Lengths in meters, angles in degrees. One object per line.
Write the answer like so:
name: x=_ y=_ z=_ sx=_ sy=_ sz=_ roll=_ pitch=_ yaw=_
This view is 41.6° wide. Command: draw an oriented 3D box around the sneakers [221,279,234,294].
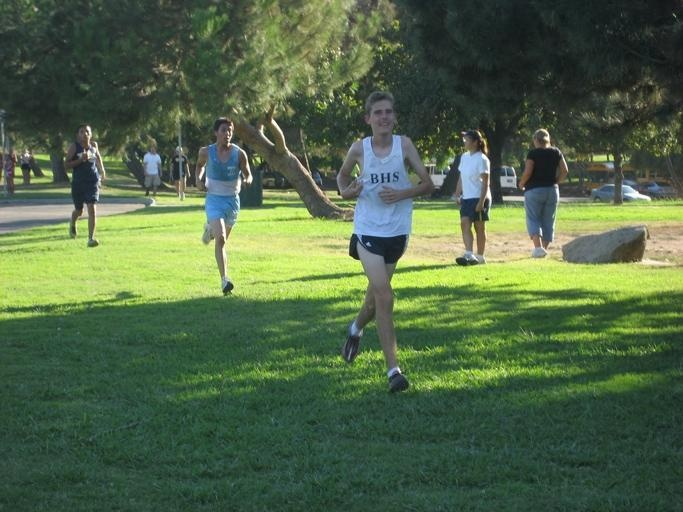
sneakers: x=-1.585 y=0.398 z=12.409 sx=0.160 sy=0.224 sz=0.261 roll=-2 pitch=12 yaw=-8

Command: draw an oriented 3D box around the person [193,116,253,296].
person: x=-1.682 y=-0.734 z=12.793 sx=0.747 sy=2.419 sz=1.308 roll=-3 pitch=11 yaw=-11

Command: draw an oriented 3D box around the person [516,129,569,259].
person: x=3.457 y=-1.125 z=15.456 sx=0.738 sy=2.058 sz=0.535 roll=2 pitch=11 yaw=13

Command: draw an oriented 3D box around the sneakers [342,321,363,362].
sneakers: x=0.131 y=0.916 z=9.444 sx=0.145 sy=0.505 sz=0.196 roll=7 pitch=8 yaw=-15

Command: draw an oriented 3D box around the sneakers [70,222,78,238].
sneakers: x=-5.310 y=-0.509 z=17.675 sx=0.076 sy=0.334 sz=0.192 roll=7 pitch=48 yaw=-6

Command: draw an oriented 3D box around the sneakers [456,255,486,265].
sneakers: x=2.153 y=0.077 z=14.930 sx=0.485 sy=0.238 sz=0.179 roll=9 pitch=-6 yaw=-35

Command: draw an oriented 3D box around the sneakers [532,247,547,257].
sneakers: x=3.407 y=-0.077 z=15.491 sx=0.115 sy=0.143 sz=0.272 roll=-4 pitch=-6 yaw=-3

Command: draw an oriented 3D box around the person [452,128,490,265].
person: x=2.201 y=-0.978 z=14.993 sx=0.528 sy=2.175 sz=0.864 roll=1 pitch=11 yaw=9

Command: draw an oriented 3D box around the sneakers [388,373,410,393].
sneakers: x=0.539 y=1.186 z=8.579 sx=0.194 sy=0.174 sz=0.149 roll=0 pitch=12 yaw=4

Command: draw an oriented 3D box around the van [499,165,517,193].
van: x=10.977 y=-4.876 z=58.718 sx=0.973 sy=1.829 sz=2.315 roll=3 pitch=13 yaw=17

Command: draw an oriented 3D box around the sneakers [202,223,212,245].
sneakers: x=-1.995 y=-0.321 z=13.205 sx=0.128 sy=0.174 sz=0.376 roll=21 pitch=-18 yaw=-4

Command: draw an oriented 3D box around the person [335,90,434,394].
person: x=0.404 y=-0.223 z=8.954 sx=0.828 sy=2.746 sz=1.083 roll=-10 pitch=15 yaw=-42
